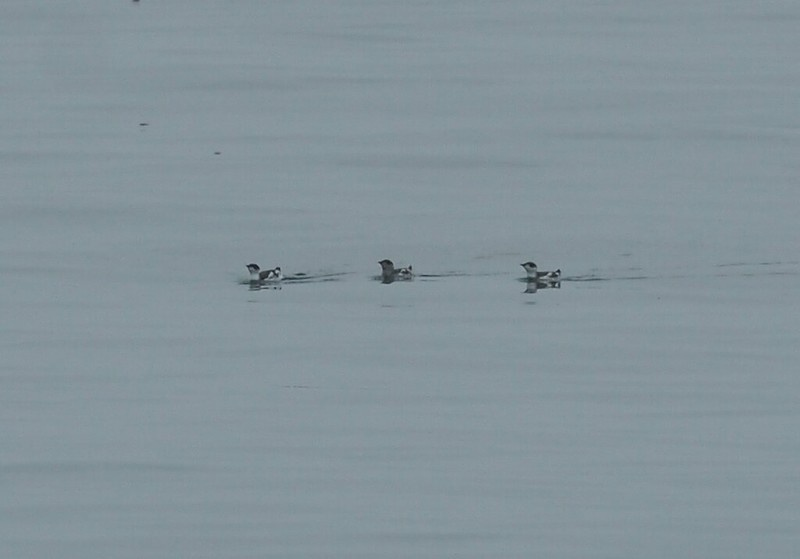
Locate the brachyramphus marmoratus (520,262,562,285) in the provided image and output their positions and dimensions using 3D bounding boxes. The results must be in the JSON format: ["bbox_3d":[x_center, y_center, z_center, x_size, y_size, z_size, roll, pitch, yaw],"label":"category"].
[{"bbox_3d":[0.620,-0.018,8.405,0.201,0.039,0.101,14,61,-2],"label":"brachyramphus marmoratus"}]

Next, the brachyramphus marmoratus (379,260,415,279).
[{"bbox_3d":[-0.061,-0.050,8.382,0.194,0.080,0.146,1,85,-4],"label":"brachyramphus marmoratus"}]
